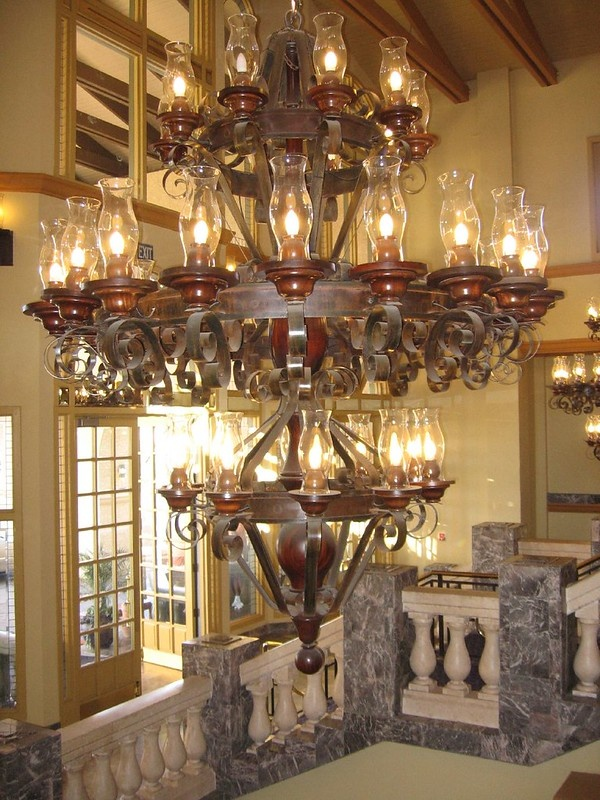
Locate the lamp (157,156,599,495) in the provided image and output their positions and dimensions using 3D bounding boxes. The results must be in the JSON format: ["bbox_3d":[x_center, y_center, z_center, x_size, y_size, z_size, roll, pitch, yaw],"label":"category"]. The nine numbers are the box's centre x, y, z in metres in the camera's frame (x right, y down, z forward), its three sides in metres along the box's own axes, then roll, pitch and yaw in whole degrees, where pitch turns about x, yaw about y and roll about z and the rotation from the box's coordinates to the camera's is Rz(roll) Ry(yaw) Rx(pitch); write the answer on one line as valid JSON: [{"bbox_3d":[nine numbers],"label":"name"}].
[{"bbox_3d":[0.068,-0.165,1.604,0.612,0.671,0.827,-4,-2,38],"label":"lamp"}]

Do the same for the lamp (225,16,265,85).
[{"bbox_3d":[-0.117,-0.705,1.661,0.094,0.162,0.090,-6,22,-16],"label":"lamp"}]

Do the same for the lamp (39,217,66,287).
[{"bbox_3d":[-0.515,-0.308,1.723,0.055,0.168,0.124,-2,-2,-16],"label":"lamp"}]

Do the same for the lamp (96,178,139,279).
[{"bbox_3d":[-0.326,-0.301,1.476,0.063,0.171,0.061,0,18,-3],"label":"lamp"}]

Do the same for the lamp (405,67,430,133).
[{"bbox_3d":[0.272,-0.697,1.920,0.049,0.141,0.049,12,27,23],"label":"lamp"}]

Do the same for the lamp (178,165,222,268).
[{"bbox_3d":[-0.166,-0.306,1.372,0.065,0.172,0.065,-3,-2,-7],"label":"lamp"}]
